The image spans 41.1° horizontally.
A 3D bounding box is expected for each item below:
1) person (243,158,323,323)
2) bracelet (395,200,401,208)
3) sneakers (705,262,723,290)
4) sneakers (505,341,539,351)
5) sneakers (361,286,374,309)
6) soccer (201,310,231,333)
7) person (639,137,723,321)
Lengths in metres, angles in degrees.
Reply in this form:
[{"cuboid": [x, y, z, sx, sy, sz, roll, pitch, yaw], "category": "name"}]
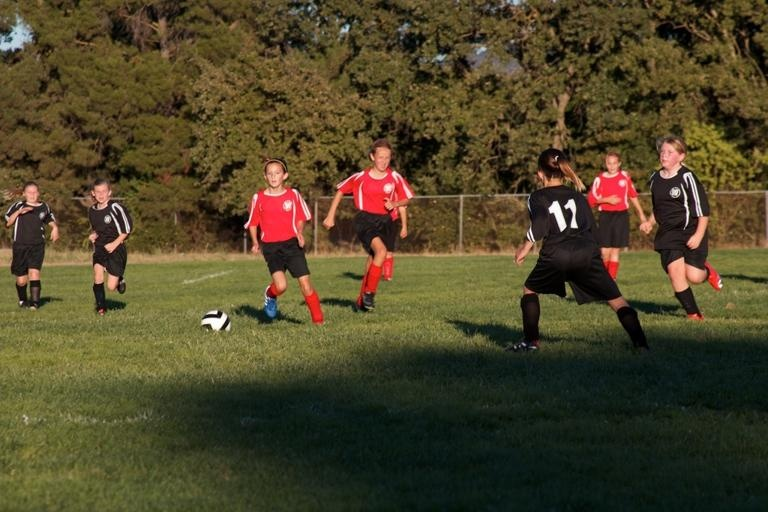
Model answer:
[{"cuboid": [-1.977, -0.284, 20.579, 1.405, 3.319, 0.740, -3, 3, 1], "category": "person"}, {"cuboid": [0.323, -1.127, 21.812, 0.115, 0.109, 0.027, -6, -21, -9], "category": "bracelet"}, {"cuboid": [7.294, 0.475, 22.717, 0.279, 0.622, 0.208, -33, 7, -33], "category": "sneakers"}, {"cuboid": [2.560, 1.687, 18.793, 0.331, 0.118, 0.266, 0, -2, 36], "category": "sneakers"}, {"cuboid": [-0.331, 0.924, 21.262, 0.297, 0.467, 0.196, -3, 3, 4], "category": "sneakers"}, {"cuboid": [-3.311, 1.318, 20.290, 0.422, 0.449, 0.449, -4, -9, 40], "category": "soccer"}, {"cuboid": [5.883, -0.567, 20.377, 1.074, 3.641, 0.592, -2, 3, 15], "category": "person"}]
